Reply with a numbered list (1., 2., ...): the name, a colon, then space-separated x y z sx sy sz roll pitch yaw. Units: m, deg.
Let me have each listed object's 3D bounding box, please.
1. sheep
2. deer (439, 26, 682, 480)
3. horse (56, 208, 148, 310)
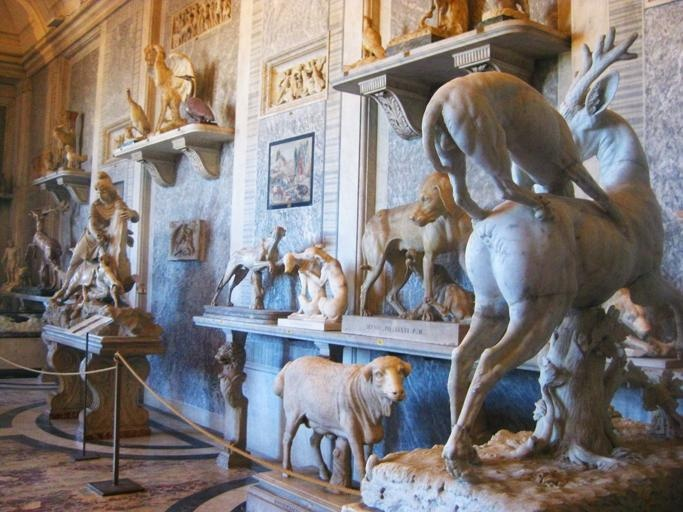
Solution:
1. sheep: -0.061 1.065 4.608 1.106 0.829 0.372 -6 -11 44
2. deer: 1.077 -0.118 3.521 1.227 2.285 0.531 7 -10 -38
3. horse: -2.665 -0.017 7.956 1.131 1.237 0.428 13 3 27
